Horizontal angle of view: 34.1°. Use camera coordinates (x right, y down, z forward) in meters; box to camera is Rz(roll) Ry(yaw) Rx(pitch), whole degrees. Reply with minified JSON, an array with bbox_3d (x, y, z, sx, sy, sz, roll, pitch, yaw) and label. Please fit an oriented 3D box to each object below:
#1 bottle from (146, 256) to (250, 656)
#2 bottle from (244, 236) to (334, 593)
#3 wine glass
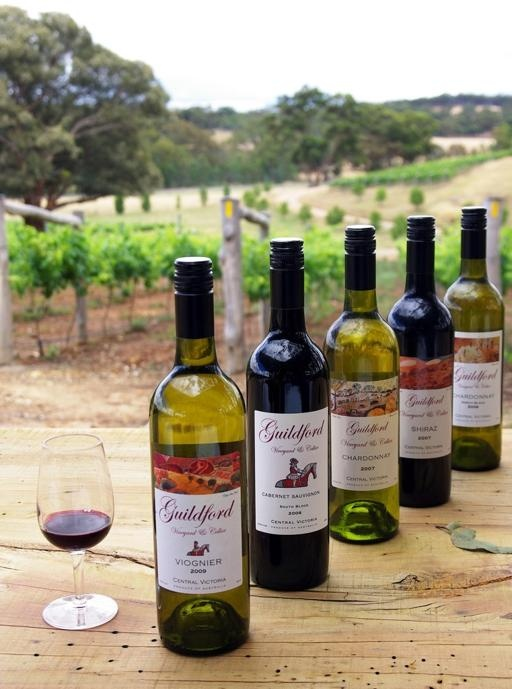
[{"bbox_3d":[-0.057,0.106,0.816,0.096,0.383,0.140,-2,10,-1],"label":"bottle"},{"bbox_3d":[0.034,0.083,0.884,0.092,0.387,0.088,-2,10,0],"label":"bottle"},{"bbox_3d":[-0.197,0.187,0.911,0.081,0.188,0.180,-4,10,-10],"label":"wine glass"}]
